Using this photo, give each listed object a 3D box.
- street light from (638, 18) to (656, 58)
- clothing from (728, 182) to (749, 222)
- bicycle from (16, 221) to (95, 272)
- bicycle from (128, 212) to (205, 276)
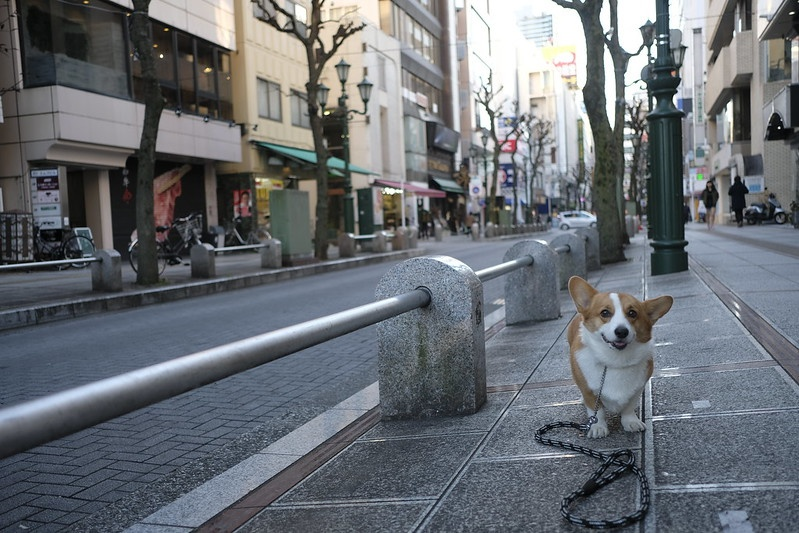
[{"bbox_3d":[8.156,-7.550,22.141,0.385,1.268,1.939,-2,7,19],"label":"street light"},{"bbox_3d":[14.602,-2.852,29.039,0.632,2.136,1.734,-1,7,27],"label":"clothing"},{"bbox_3d":[-9.917,-0.583,19.267,2.478,1.890,1.302,1,2,-17],"label":"bicycle"},{"bbox_3d":[-6.462,-0.556,19.602,2.642,1.845,1.325,0,-21,-37],"label":"bicycle"}]
